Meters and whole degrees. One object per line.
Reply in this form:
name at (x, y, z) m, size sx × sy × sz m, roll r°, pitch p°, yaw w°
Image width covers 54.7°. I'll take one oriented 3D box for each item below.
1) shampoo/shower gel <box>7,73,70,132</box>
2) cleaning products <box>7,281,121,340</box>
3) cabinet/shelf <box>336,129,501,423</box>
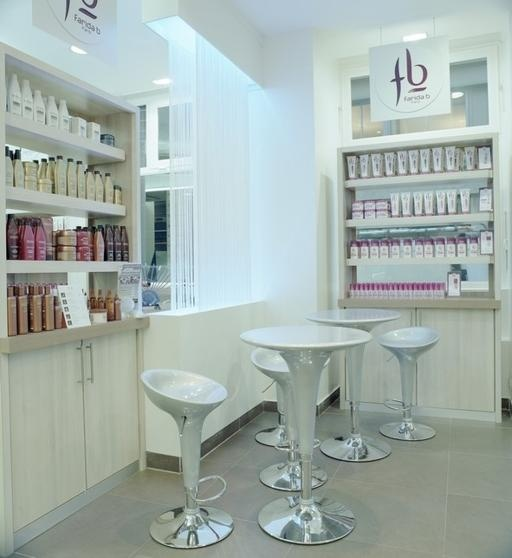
shampoo/shower gel at (-1.173, -0.933, 2.677) m, size 0.149 × 0.251 × 0.532 m, roll -1°, pitch 2°, yaw 7°
cleaning products at (-1.060, 0.142, 2.669) m, size 0.202 × 0.248 × 0.778 m, roll 0°, pitch 2°, yaw 21°
cabinet/shelf at (1.684, -0.070, 4.821) m, size 1.504 × 2.439 × 0.626 m, roll 5°, pitch 5°, yaw 22°
